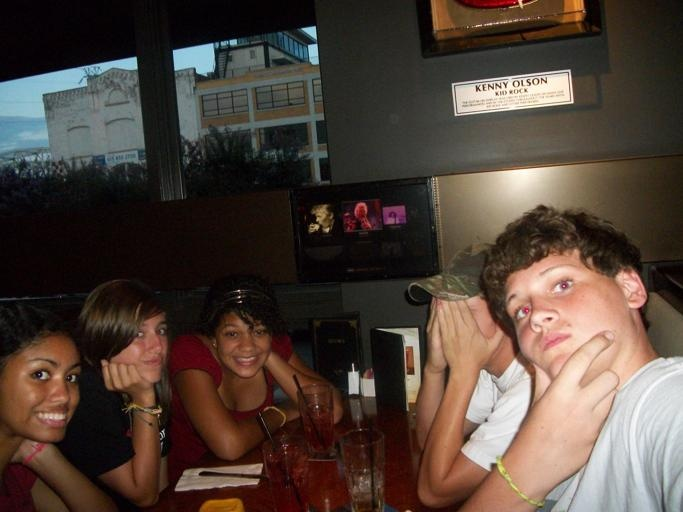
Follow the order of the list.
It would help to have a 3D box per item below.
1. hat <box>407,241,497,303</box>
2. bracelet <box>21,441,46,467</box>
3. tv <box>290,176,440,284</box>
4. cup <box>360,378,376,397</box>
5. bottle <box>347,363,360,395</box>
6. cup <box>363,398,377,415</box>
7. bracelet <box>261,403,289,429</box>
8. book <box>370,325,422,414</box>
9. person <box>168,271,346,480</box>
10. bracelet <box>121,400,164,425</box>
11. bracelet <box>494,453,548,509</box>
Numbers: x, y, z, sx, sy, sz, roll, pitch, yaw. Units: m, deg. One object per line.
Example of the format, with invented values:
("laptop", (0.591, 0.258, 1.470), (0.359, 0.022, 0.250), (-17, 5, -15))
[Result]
("hat", (0.409, 0.069, 2.016), (0.294, 0.108, 0.186), (-34, 10, -19))
("bracelet", (-0.990, 0.627, 1.781), (0.075, 0.019, 0.054), (-55, 7, -13))
("tv", (0.130, -0.123, 2.506), (0.420, 0.326, 0.074), (-4, 5, 10))
("cup", (0.112, 0.560, 2.414), (0.082, 0.088, 0.063), (-2, -8, 15))
("bottle", (0.050, 0.530, 2.410), (0.055, 0.114, 0.119), (-5, 5, -2))
("cup", (0.114, 0.610, 2.266), (0.045, 0.027, 0.046), (1, 4, 0))
("bracelet", (-0.253, 0.620, 2.171), (0.073, 0.058, 0.076), (-1, -1, -8))
("book", (0.219, 0.455, 2.252), (0.264, 0.371, 0.249), (-2, -2, 4))
("person", (-0.307, 0.386, 2.649), (0.739, 1.273, 0.735), (1, 2, 40))
("bracelet", (-0.713, 0.537, 1.965), (0.100, 0.048, 0.096), (7, -11, 17))
("bracelet", (0.474, 0.617, 1.516), (0.033, 0.129, 0.131), (-40, -5, -6))
